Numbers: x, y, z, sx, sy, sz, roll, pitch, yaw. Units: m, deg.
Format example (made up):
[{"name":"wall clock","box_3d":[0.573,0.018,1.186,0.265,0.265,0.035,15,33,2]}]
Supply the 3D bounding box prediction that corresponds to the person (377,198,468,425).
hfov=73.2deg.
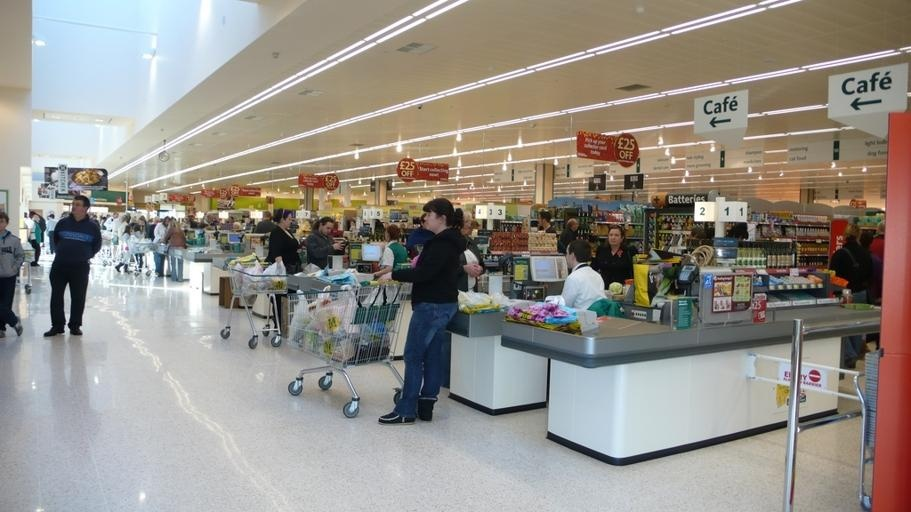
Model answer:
[{"name":"person","box_3d":[-0.392,0.734,8.077,1.020,2.925,0.395,-1,4,-6]}]

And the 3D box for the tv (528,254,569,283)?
[{"name":"tv","box_3d":[1.355,0.165,9.260,0.771,0.455,0.390,0,1,-15]}]

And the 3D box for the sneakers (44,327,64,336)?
[{"name":"sneakers","box_3d":[-6.981,1.340,10.750,0.149,0.105,0.280,-5,-8,40]}]

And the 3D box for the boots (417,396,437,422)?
[{"name":"boots","box_3d":[-0.401,2.033,8.143,0.162,0.260,0.410,2,5,-10]}]

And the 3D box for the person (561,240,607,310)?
[{"name":"person","box_3d":[1.717,0.248,8.244,0.569,0.873,0.611,1,5,12]}]

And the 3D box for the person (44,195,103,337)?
[{"name":"person","box_3d":[-6.746,0.168,10.816,0.888,2.443,0.823,-3,5,-32]}]

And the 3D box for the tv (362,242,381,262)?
[{"name":"tv","box_3d":[-1.555,-0.046,11.333,0.382,0.236,0.041,0,-7,-23]}]

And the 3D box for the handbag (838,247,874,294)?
[{"name":"handbag","box_3d":[7.023,0.243,10.828,0.730,0.830,0.237,-1,5,-14]}]

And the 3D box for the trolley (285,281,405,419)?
[{"name":"trolley","box_3d":[-1.453,1.207,8.636,1.126,1.590,1.821,0,2,-44]}]
